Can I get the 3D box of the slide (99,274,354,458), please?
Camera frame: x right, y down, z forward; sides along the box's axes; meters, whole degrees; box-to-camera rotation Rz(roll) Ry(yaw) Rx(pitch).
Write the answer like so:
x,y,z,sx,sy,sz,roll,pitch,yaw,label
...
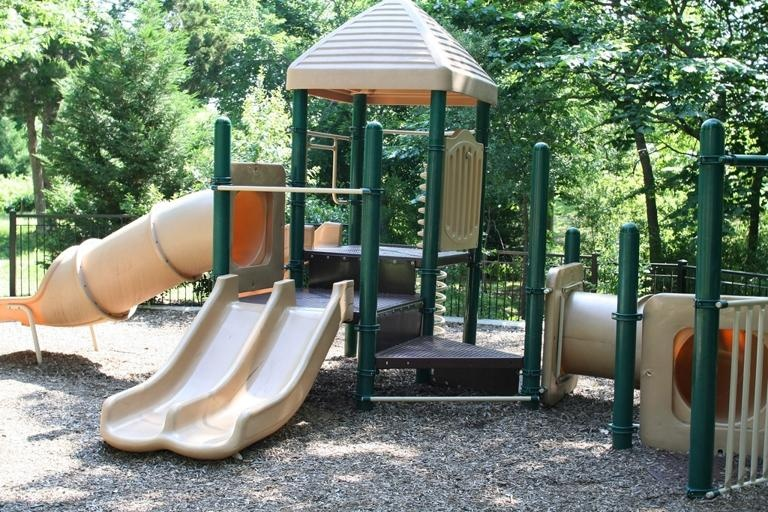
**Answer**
x,y,z,sx,sy,sz,roll,pitch,yaw,label
-1.693,1.163,9.868,1.776,1.157,2.842,3,16,23,slide
